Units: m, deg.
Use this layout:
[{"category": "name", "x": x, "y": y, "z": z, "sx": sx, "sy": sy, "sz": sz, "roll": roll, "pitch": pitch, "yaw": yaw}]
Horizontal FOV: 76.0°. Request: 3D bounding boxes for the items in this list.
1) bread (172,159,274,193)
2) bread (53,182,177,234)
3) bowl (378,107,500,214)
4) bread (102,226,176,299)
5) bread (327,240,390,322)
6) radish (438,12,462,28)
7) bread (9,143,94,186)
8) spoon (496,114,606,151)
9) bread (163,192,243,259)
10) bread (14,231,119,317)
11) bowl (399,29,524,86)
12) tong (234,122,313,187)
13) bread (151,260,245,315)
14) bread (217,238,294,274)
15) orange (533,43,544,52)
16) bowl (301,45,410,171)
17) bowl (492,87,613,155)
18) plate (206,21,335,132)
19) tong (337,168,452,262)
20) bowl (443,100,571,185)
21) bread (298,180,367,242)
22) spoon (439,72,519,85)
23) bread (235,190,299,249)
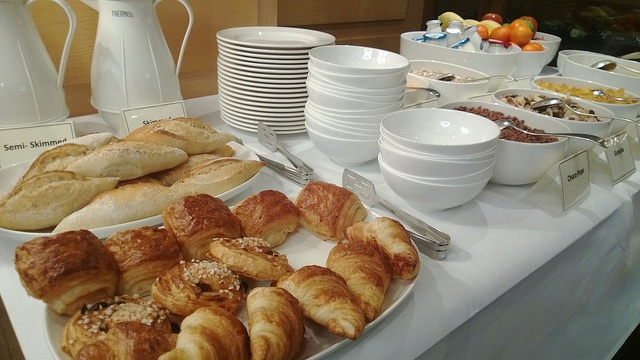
[{"category": "bread", "x": -0.288, "y": -0.024, "z": 1.131, "sx": 0.207, "sy": 0.059, "sz": 0.089, "roll": -15, "pitch": 43, "yaw": -27}, {"category": "bread", "x": -0.500, "y": 0.069, "z": 1.074, "sx": 0.309, "sy": 0.068, "sz": 0.105, "roll": -13, "pitch": 45, "yaw": -12}, {"category": "bowl", "x": 0.315, "y": -0.045, "z": 1.221, "sx": 0.316, "sy": 0.226, "sz": 0.325, "roll": -1, "pitch": 30, "yaw": 1}, {"category": "bread", "x": -0.433, "y": 0.210, "z": 1.028, "sx": 0.160, "sy": 0.115, "sz": 0.156, "roll": -15, "pitch": 44, "yaw": -34}, {"category": "bread", "x": 0.095, "y": 0.228, "z": 0.955, "sx": 0.131, "sy": 0.062, "sz": 0.158, "roll": -5, "pitch": 55, "yaw": -6}, {"category": "radish", "x": 0.591, "y": -0.721, "z": 1.864, "sx": 0.083, "sy": 0.059, "sz": 0.086, "roll": 3, "pitch": 33, "yaw": -1}, {"category": "bread", "x": -0.716, "y": -0.058, "z": 1.120, "sx": 0.151, "sy": 0.034, "sz": 0.098, "roll": -26, "pitch": -3, "yaw": 33}, {"category": "spoon", "x": 0.702, "y": -0.144, "z": 1.260, "sx": 0.327, "sy": 0.035, "sz": 0.068, "roll": 13, "pitch": 9, "yaw": 17}, {"category": "bread", "x": -0.294, "y": 0.108, "z": 1.007, "sx": 0.175, "sy": 0.105, "sz": 0.160, "roll": -20, "pitch": 59, "yaw": -35}, {"category": "bread", "x": -0.552, "y": 0.205, "z": 0.956, "sx": 0.196, "sy": 0.144, "sz": 0.192, "roll": 32, "pitch": 37, "yaw": 31}, {"category": "bowl", "x": 0.573, "y": -0.521, "z": 1.719, "sx": 0.309, "sy": 0.118, "sz": 0.292, "roll": 4, "pitch": 25, "yaw": -2}, {"category": "tong", "x": -0.147, "y": -0.087, "z": 1.299, "sx": 0.157, "sy": 0.068, "sz": 0.280, "roll": -35, "pitch": 54, "yaw": -23}, {"category": "bread", "x": -0.278, "y": 0.240, "z": 0.920, "sx": 0.164, "sy": 0.057, "sz": 0.116, "roll": 3, "pitch": 41, "yaw": -7}, {"category": "bread", "x": -0.167, "y": 0.167, "z": 0.974, "sx": 0.116, "sy": 0.041, "sz": 0.105, "roll": 19, "pitch": 5, "yaw": -3}, {"category": "orange", "x": 0.963, "y": -0.586, "z": 1.818, "sx": 0.039, "sy": 0.029, "sz": 0.038, "roll": 12, "pitch": 42, "yaw": 15}, {"category": "bowl", "x": 0.095, "y": -0.243, "z": 1.422, "sx": 0.389, "sy": 0.398, "sz": 0.379, "roll": 5, "pitch": 26, "yaw": -2}, {"category": "bowl", "x": 0.780, "y": -0.172, "z": 1.412, "sx": 0.284, "sy": 0.117, "sz": 0.279, "roll": 7, "pitch": 23, "yaw": -3}, {"category": "plate", "x": -0.175, "y": -0.343, "z": 1.458, "sx": 0.396, "sy": 0.252, "sz": 0.393, "roll": 8, "pitch": 24, "yaw": 12}, {"category": "tong", "x": 0.145, "y": 0.079, "z": 1.202, "sx": 0.471, "sy": 0.068, "sz": 0.127, "roll": 36, "pitch": 54, "yaw": 26}, {"category": "bowl", "x": 0.603, "y": -0.083, "z": 1.252, "sx": 0.310, "sy": 0.137, "sz": 0.315, "roll": 5, "pitch": 26, "yaw": -2}, {"category": "bread", "x": 0.024, "y": 0.064, "z": 1.131, "sx": 0.167, "sy": 0.107, "sz": 0.187, "roll": -28, "pitch": 42, "yaw": -27}, {"category": "spoon", "x": 0.611, "y": -0.403, "z": 1.617, "sx": 0.278, "sy": 0.066, "sz": 0.039, "roll": 4, "pitch": 72, "yaw": 4}, {"category": "bread", "x": -0.129, "y": 0.097, "z": 1.100, "sx": 0.144, "sy": 0.099, "sz": 0.142, "roll": -26, "pitch": 44, "yaw": -33}]
